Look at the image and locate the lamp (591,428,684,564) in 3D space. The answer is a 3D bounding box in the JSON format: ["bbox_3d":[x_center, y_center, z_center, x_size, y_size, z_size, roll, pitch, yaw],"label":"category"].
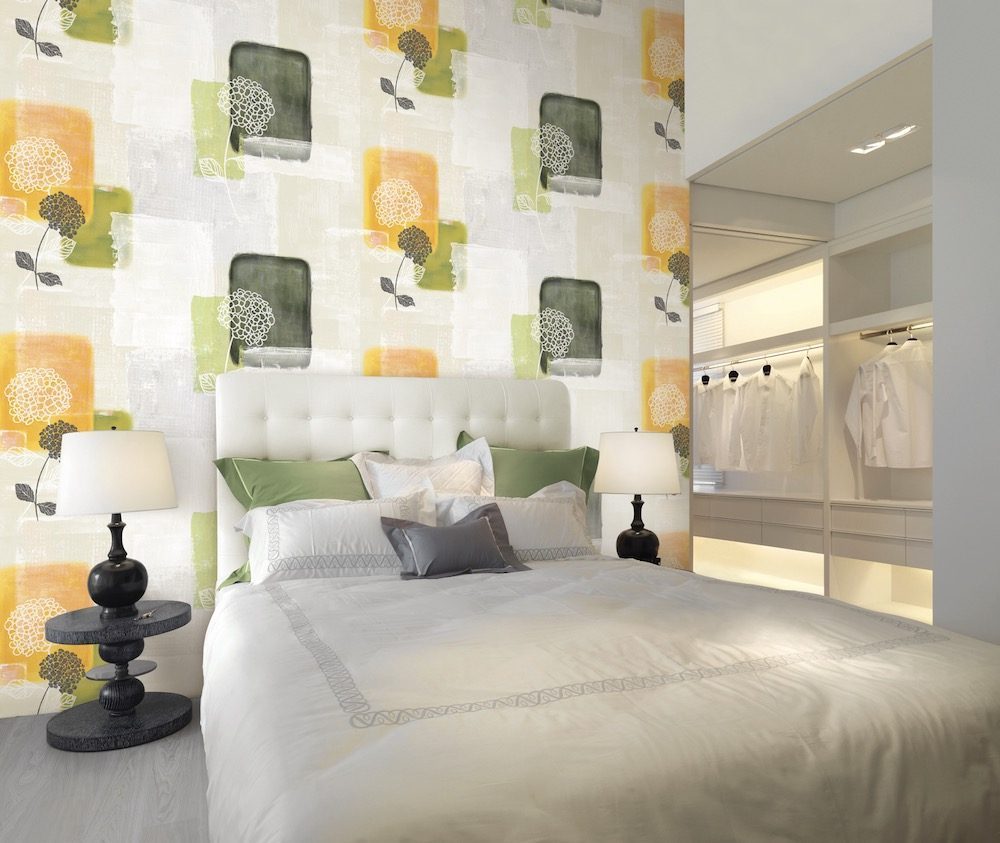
[{"bbox_3d":[0.646,0.313,3.707,0.480,0.844,0.551,-1,0,16],"label":"lamp"}]

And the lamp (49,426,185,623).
[{"bbox_3d":[-1.468,0.388,2.901,0.394,0.706,0.404,-1,1,-23],"label":"lamp"}]
